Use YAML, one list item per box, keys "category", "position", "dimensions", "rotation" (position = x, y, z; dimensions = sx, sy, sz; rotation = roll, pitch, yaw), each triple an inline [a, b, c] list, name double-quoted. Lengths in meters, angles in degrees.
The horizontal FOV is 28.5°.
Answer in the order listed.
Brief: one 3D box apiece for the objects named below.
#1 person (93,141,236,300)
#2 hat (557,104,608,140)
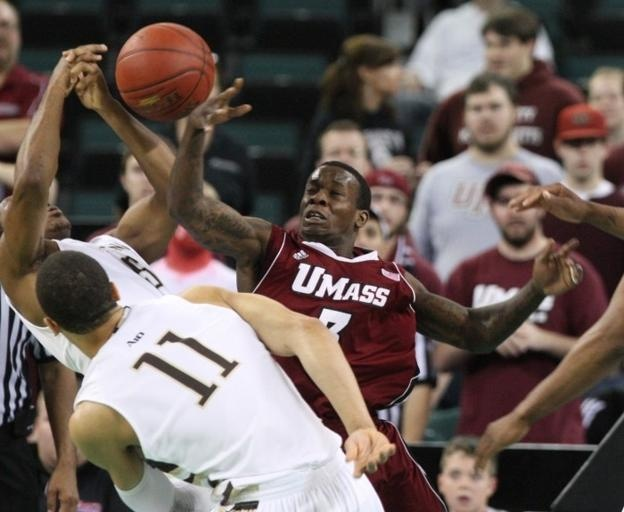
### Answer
- category: "person"
  position: [-1.045, -0.284, 9.182]
  dimensions: [1.500, 0.994, 0.573]
  rotation: [-3, 7, -3]
- category: "hat"
  position: [1.998, -1.016, 9.142]
  dimensions: [0.380, 0.255, 0.497]
  rotation: [-4, 12, 8]
